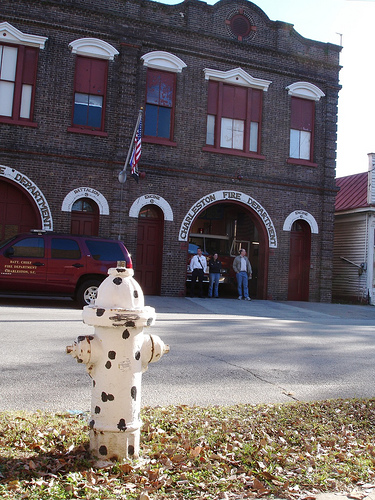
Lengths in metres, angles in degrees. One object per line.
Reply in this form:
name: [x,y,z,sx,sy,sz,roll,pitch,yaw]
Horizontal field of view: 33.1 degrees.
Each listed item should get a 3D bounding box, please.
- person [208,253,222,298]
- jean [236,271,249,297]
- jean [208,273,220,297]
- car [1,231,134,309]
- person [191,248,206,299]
person: [0.901,0.821,20.495,0.415,1.399,0.693,5,-1,1]
jean: [1.858,1.123,20.946,0.415,0.810,0.462,5,-1,31]
jean: [0.866,1.140,20.648,0.374,0.747,0.615,5,-1,2]
car: [-3.019,0.480,14.788,3.876,1.462,1.710,2,-4,-13]
person: [0.358,0.711,20.126,0.502,1.565,0.857,5,-1,1]
